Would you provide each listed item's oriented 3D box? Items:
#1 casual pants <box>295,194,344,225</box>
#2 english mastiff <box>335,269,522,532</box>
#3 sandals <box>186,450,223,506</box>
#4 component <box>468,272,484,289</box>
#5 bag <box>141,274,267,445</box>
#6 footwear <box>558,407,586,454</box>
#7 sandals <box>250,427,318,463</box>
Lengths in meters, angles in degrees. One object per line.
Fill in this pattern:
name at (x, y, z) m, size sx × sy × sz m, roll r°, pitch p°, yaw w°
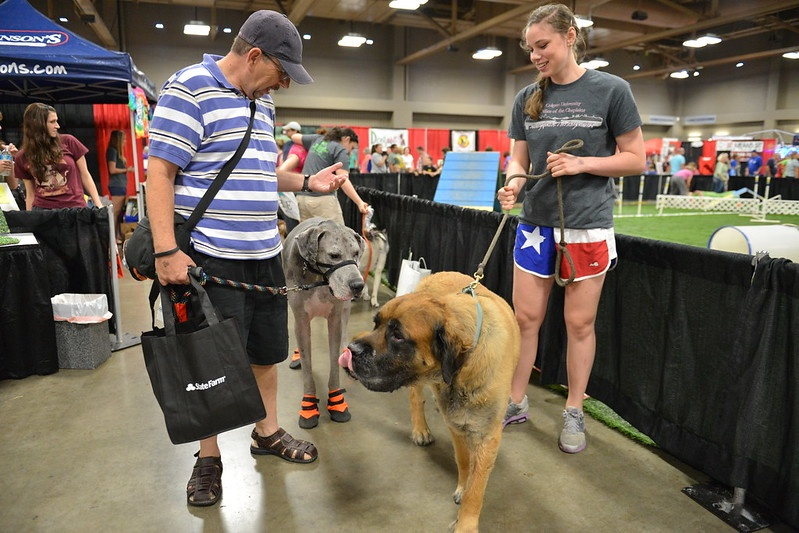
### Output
casual pants at (-0.993, -0.672, 6.040) m, size 0.505 × 0.444 × 0.287 m, roll 8°, pitch 18°, yaw 27°
english mastiff at (0.277, 0.886, 3.325) m, size 0.839 × 1.524 × 1.094 m, roll 6°, pitch 11°, yaw 28°
sandals at (-1.375, 1.468, 3.582) m, size 0.226 × 0.215 × 0.520 m, roll 3°, pitch 7°, yaw -13°
component at (0.567, 0.111, 3.729) m, size 0.038 × 0.125 × 0.066 m, roll 32°, pitch 27°, yaw -6°
bag at (-1.207, 0.558, 3.129) m, size 0.730 × 0.967 × 0.365 m, roll 0°, pitch 10°, yaw -5°
footwear at (1.329, 1.246, 3.900) m, size 0.163 × 0.169 × 0.402 m, roll -1°, pitch 9°, yaw 13°
sandals at (-0.886, 1.360, 3.842) m, size 0.463 × 0.177 × 0.219 m, roll 4°, pitch 8°, yaw 12°
